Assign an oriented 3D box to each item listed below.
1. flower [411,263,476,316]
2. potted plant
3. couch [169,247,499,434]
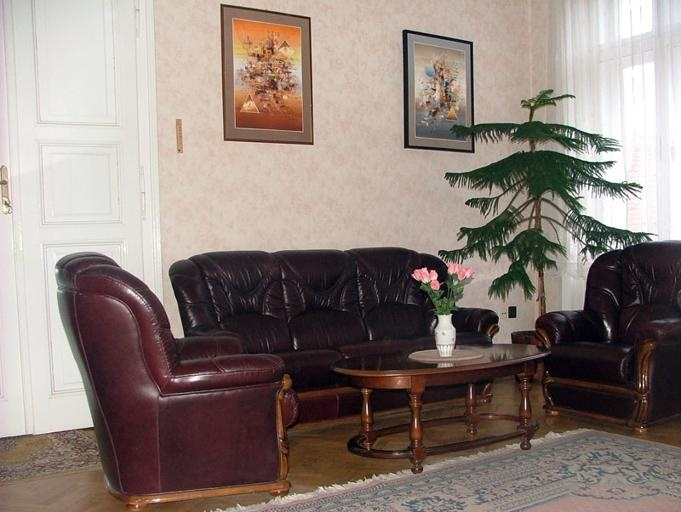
[{"bbox_3d":[0.654,0.230,3.667,0.371,0.319,0.302,-6,4,26],"label":"flower"},{"bbox_3d":[2.220,-0.382,5.872,2.225,2.511,2.213,-2,1,-36],"label":"potted plant"},{"bbox_3d":[-0.004,0.558,4.297,2.371,1.080,1.056,-1,6,-32],"label":"couch"}]
